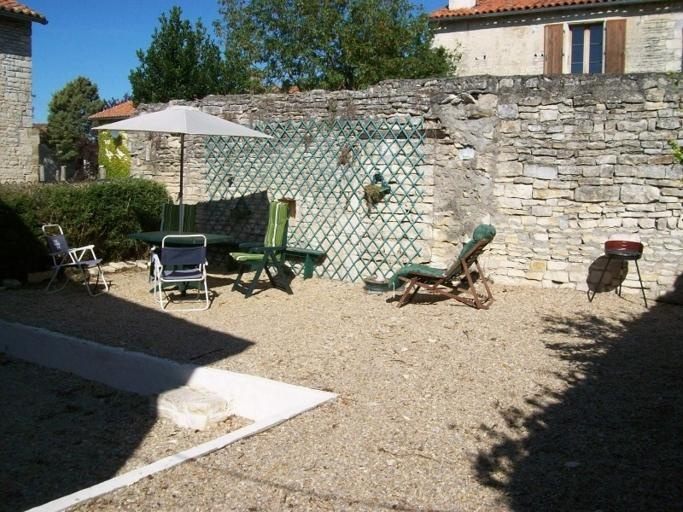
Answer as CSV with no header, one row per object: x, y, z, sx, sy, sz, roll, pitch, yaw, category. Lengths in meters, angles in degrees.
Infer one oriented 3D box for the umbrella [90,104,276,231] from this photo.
-1.933,-0.967,7.642,2.371,1.271,2.039,1,6,10,umbrella

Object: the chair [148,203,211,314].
-2.043,-0.006,6.998,0.762,1.153,1.429,-6,13,-18,chair

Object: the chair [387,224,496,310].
1.241,0.121,6.905,1.234,0.881,0.776,0,3,18,chair

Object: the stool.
3.452,0.194,6.951,0.678,0.751,0.550,3,13,22,stool
